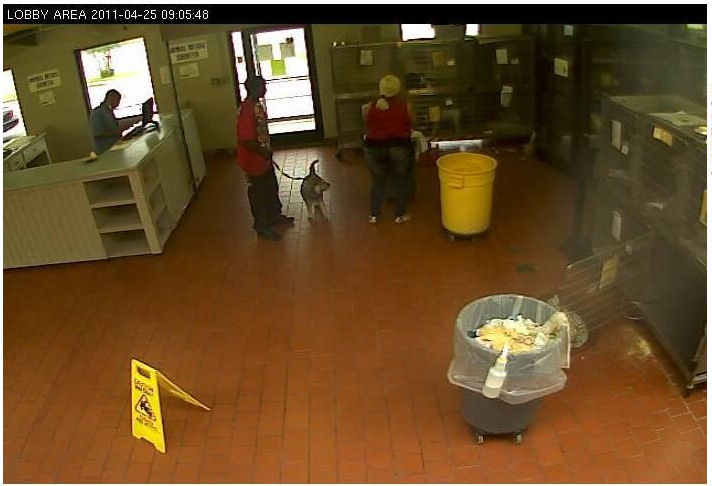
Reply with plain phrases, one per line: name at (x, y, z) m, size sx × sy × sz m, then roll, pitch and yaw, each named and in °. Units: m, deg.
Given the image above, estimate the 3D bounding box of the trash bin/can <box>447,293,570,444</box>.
trash bin/can at (1.048, 0.844, 3.374) m, size 0.738 × 0.788 × 0.783 m, roll 7°, pitch 32°, yaw 23°

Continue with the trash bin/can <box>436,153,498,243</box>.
trash bin/can at (0.790, -0.457, 4.284) m, size 0.699 × 0.672 × 0.595 m, roll -8°, pitch 26°, yaw -4°

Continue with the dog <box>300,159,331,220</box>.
dog at (-0.357, -0.442, 4.369) m, size 0.214 × 0.390 × 0.605 m, roll -11°, pitch -5°, yaw 11°

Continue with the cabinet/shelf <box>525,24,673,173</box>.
cabinet/shelf at (2.036, -1.292, 4.315) m, size 1.472 × 1.341 × 1.048 m, roll -1°, pitch 16°, yaw 5°

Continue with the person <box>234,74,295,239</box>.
person at (-0.741, -0.718, 4.010) m, size 0.482 × 1.254 × 0.487 m, roll -5°, pitch 46°, yaw -7°

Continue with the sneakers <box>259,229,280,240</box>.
sneakers at (-0.713, -0.086, 4.230) m, size 0.206 × 0.131 × 0.070 m, roll -2°, pitch 24°, yaw 3°

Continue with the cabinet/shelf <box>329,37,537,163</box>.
cabinet/shelf at (0.622, -1.151, 3.784) m, size 1.611 × 0.909 × 0.574 m, roll -11°, pitch 30°, yaw -9°

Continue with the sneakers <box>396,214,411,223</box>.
sneakers at (0.422, -0.225, 4.330) m, size 0.151 × 0.065 × 0.053 m, roll -23°, pitch 39°, yaw -26°
